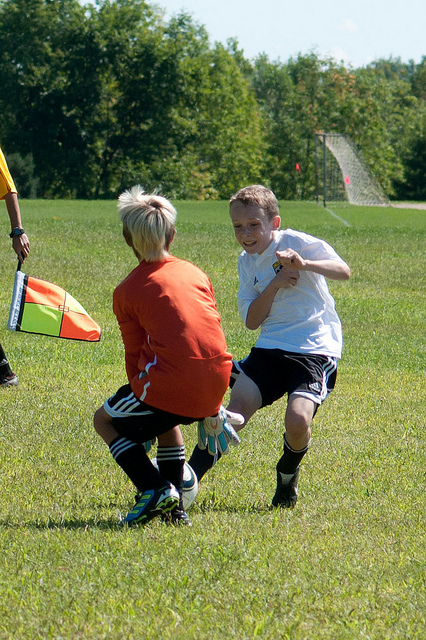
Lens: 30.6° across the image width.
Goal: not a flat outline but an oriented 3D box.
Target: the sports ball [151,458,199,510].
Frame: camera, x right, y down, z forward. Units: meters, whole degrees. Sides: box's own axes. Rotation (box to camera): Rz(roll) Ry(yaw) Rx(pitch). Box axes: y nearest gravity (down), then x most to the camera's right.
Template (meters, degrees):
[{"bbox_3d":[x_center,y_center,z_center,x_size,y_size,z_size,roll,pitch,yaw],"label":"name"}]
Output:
[{"bbox_3d":[-0.172,0.748,3.617,0.204,0.229,0.200,6,-27,3],"label":"sports ball"}]

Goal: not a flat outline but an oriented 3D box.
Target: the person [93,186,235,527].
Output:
[{"bbox_3d":[-0.219,0.146,3.354,0.603,1.443,0.475,2,0,0],"label":"person"}]
